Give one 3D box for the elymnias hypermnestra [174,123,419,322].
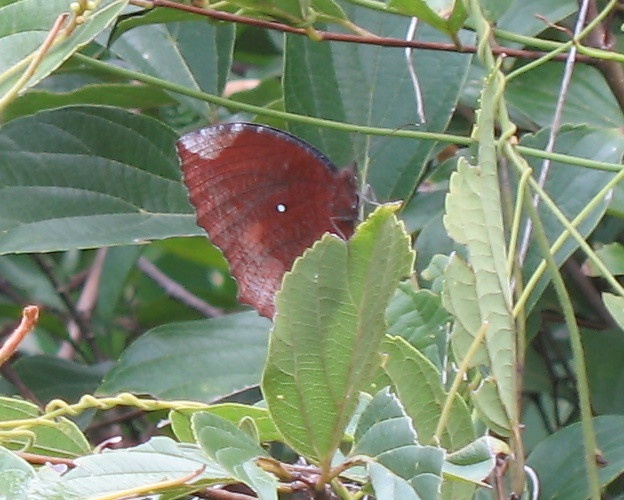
[{"bbox_3d":[-0.046,-0.055,1.323,0.118,0.219,0.270,28,11,-18],"label":"elymnias hypermnestra"}]
